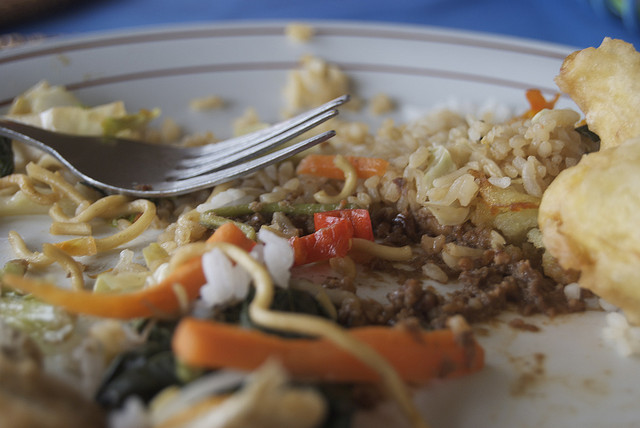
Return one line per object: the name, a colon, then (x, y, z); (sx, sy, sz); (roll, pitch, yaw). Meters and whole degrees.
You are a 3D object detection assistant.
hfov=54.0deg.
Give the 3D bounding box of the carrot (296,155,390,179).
carrot: (0.061, -0.149, 1.977); (0.202, 0.049, 0.109); (7, 26, 11)
